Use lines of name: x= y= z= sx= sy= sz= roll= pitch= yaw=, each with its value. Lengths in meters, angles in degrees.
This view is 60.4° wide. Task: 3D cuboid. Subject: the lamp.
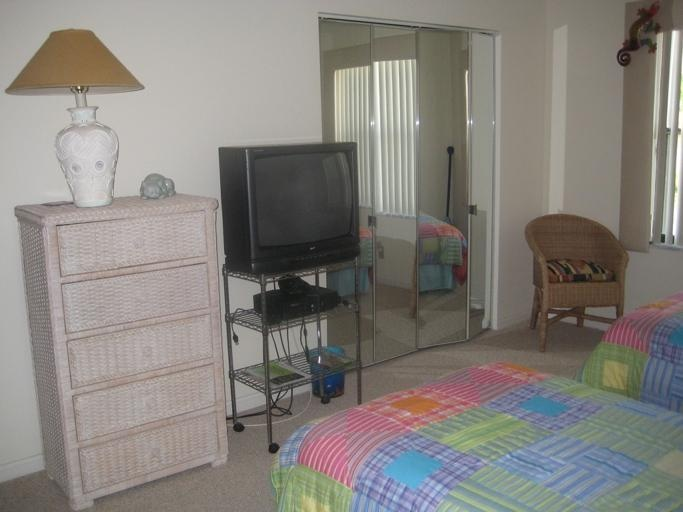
lamp: x=-1.421 y=-0.739 z=3.454 sx=0.824 sy=1.139 sz=0.834 roll=-7 pitch=8 yaw=-28

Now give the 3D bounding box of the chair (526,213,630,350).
chair: x=1.989 y=0.182 z=5.019 sx=0.787 sy=1.051 sz=0.791 roll=2 pitch=8 yaw=23

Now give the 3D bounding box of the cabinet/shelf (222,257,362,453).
cabinet/shelf: x=-0.351 y=0.623 z=3.685 sx=0.829 sy=1.181 sz=0.505 roll=-17 pitch=25 yaw=-40

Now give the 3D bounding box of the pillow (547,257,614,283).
pillow: x=1.983 y=0.119 z=4.889 sx=0.531 sy=0.153 sz=0.294 roll=-1 pitch=10 yaw=12

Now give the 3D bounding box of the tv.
tv: x=-0.324 y=-0.325 z=3.784 sx=0.847 sy=0.766 sz=0.493 roll=-12 pitch=13 yaw=-39
